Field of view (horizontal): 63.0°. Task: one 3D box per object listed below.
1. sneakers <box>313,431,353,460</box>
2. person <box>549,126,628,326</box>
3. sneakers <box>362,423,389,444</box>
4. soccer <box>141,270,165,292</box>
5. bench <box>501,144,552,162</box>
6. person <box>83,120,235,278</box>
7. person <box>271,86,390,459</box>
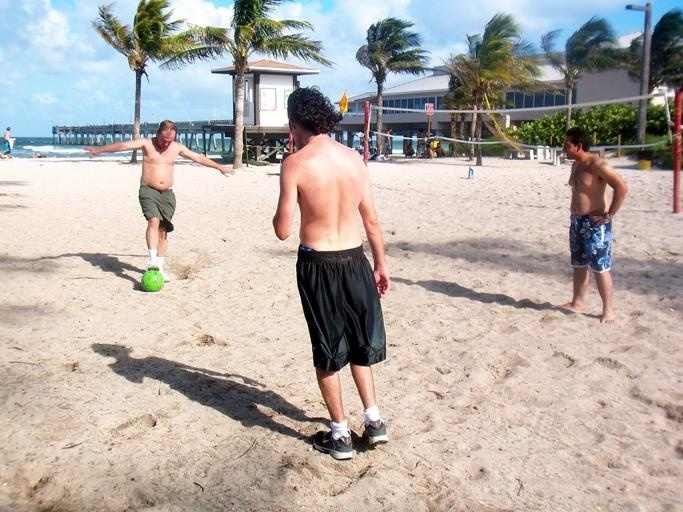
[{"bbox_3d":[-0.072,1.209,3.662,0.120,0.140,0.299,2,4,-33],"label":"sneakers"},{"bbox_3d":[2.453,-0.315,5.482,0.287,1.843,0.629,-10,16,-36],"label":"person"},{"bbox_3d":[0.224,1.167,3.673,0.090,0.105,0.227,-1,-4,-1],"label":"sneakers"},{"bbox_3d":[-2.173,0.282,6.402,0.208,0.225,0.264,1,4,-18],"label":"soccer"},{"bbox_3d":[9.319,-5.094,27.667,2.207,0.591,4.433,2,13,12],"label":"bench"},{"bbox_3d":[-2.161,-0.711,6.570,1.104,1.701,0.479,-6,14,-23],"label":"person"},{"bbox_3d":[-0.061,0.127,3.565,0.704,2.324,0.489,0,13,4],"label":"person"}]
